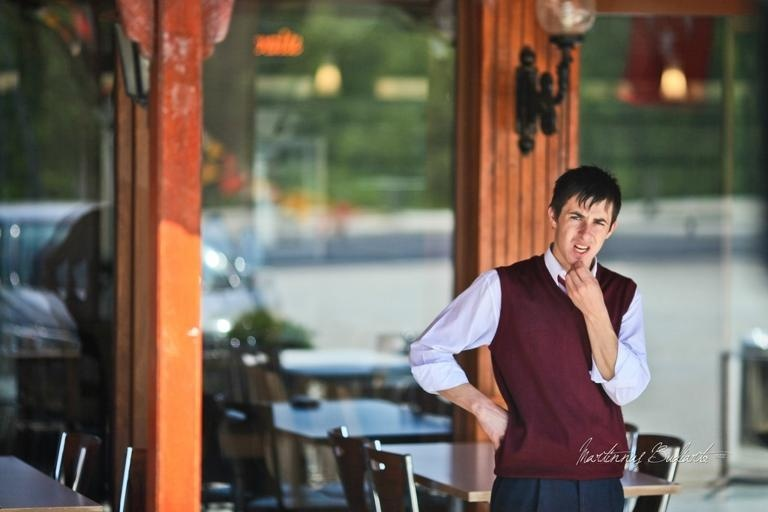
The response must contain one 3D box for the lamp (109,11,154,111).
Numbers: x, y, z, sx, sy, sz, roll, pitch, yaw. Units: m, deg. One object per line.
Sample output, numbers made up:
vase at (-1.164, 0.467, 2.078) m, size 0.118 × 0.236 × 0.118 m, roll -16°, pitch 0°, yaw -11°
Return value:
lamp at (-1.628, -1.221, 9.751) m, size 0.270 × 0.554 × 0.129 m, roll -4°, pitch -4°, yaw 31°
